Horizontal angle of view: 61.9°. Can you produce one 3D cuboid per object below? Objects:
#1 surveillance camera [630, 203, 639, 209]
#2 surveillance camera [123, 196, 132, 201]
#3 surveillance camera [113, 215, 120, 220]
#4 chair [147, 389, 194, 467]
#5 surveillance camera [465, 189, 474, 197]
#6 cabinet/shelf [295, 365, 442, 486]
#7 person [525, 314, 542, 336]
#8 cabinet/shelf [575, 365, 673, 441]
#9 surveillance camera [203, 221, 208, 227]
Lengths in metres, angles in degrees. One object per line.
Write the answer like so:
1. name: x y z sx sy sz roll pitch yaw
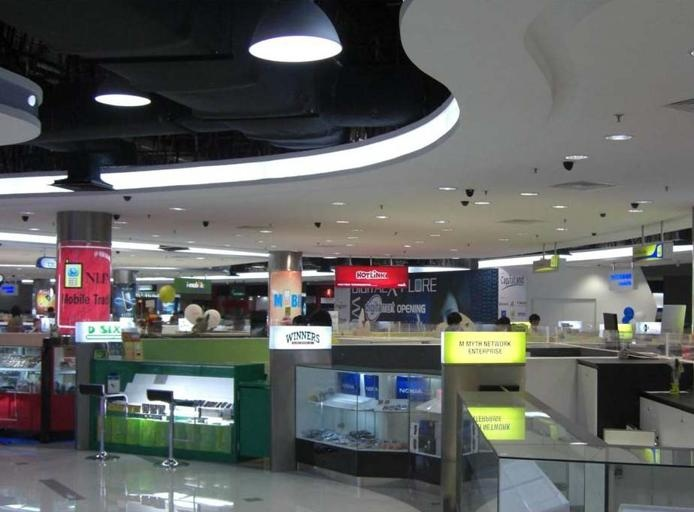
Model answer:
1. surveillance camera: 5.210 -0.911 10.528 0.121 0.073 0.124 0 -6 -2
2. surveillance camera: -3.916 -1.026 10.343 0.103 0.042 0.106 -2 -7 -2
3. surveillance camera: -5.034 -0.841 12.680 0.109 0.089 0.119 0 -6 -4
4. chair: -2.664 2.478 8.468 0.475 1.087 0.783 1 -4 -23
5. surveillance camera: 1.988 -1.028 9.422 0.101 0.079 0.103 -1 -2 -6
6. cabinet/shelf: 0.165 2.266 8.095 0.805 1.434 2.337 24 -23 -27
7. person: 4.610 1.671 14.357 0.231 0.425 1.672 -2 -4 18
8. cabinet/shelf: 4.032 1.892 8.403 1.126 1.191 1.219 1 -4 4
9. surveillance camera: -3.366 -0.768 13.798 0.125 0.036 0.123 2 -19 2
